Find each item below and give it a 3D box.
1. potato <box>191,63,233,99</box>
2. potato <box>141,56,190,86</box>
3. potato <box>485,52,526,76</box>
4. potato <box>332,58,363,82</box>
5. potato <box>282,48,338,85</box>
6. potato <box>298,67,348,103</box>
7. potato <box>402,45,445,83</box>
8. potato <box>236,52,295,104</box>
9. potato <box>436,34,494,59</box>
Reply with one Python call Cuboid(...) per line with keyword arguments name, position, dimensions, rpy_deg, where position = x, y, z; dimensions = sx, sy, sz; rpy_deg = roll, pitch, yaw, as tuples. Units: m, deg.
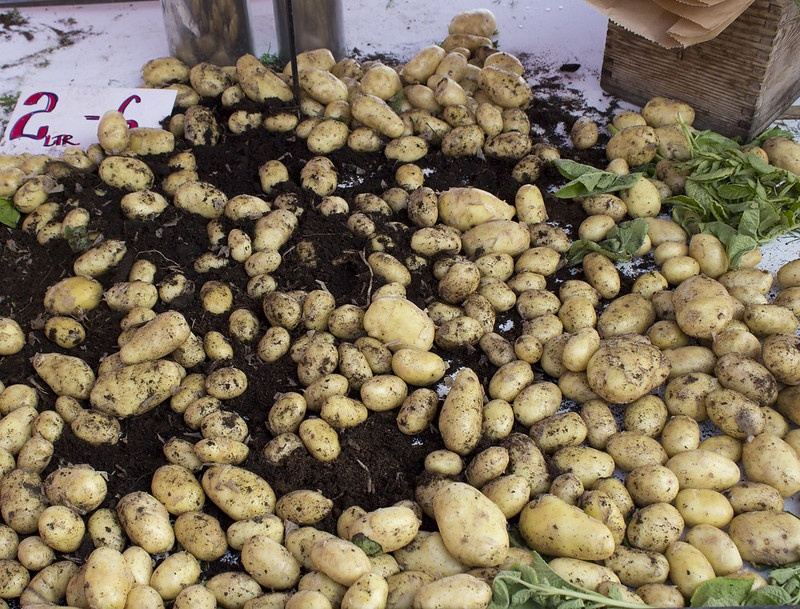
Cuboid(name="potato", position=(-1.251, -1.507, 5.422), dimensions=(0.210, 0.128, 0.243), rpy_deg=(-23, 65, -18))
Cuboid(name="potato", position=(-1.605, -1.608, 5.618), dimensions=(0.321, 0.136, 0.225), rpy_deg=(-9, 53, -2))
Cuboid(name="potato", position=(0.727, -1.657, 5.641), dimensions=(0.199, 0.238, 0.124), rpy_deg=(28, 102, 46))
Cuboid(name="potato", position=(-0.377, -1.656, 5.772), dimensions=(0.188, 0.090, 0.224), rpy_deg=(-35, 38, -13))
Cuboid(name="potato", position=(-0.611, -1.630, 5.539), dimensions=(0.369, 0.178, 0.372), rpy_deg=(-6, 37, -5))
Cuboid(name="potato", position=(-0.511, -1.442, 5.355), dimensions=(0.273, 0.204, 0.155), rpy_deg=(37, 107, 1))
Cuboid(name="potato", position=(0.156, -1.673, 5.700), dimensions=(0.343, 0.156, 0.162), rpy_deg=(-42, 48, -11))
Cuboid(name="potato", position=(-0.901, -1.463, 5.337), dimensions=(0.407, 0.142, 0.226), rpy_deg=(45, 53, 9))
Cuboid(name="potato", position=(0.469, -1.910, 5.936), dimensions=(0.379, 0.153, 0.173), rpy_deg=(5, 94, 0))
